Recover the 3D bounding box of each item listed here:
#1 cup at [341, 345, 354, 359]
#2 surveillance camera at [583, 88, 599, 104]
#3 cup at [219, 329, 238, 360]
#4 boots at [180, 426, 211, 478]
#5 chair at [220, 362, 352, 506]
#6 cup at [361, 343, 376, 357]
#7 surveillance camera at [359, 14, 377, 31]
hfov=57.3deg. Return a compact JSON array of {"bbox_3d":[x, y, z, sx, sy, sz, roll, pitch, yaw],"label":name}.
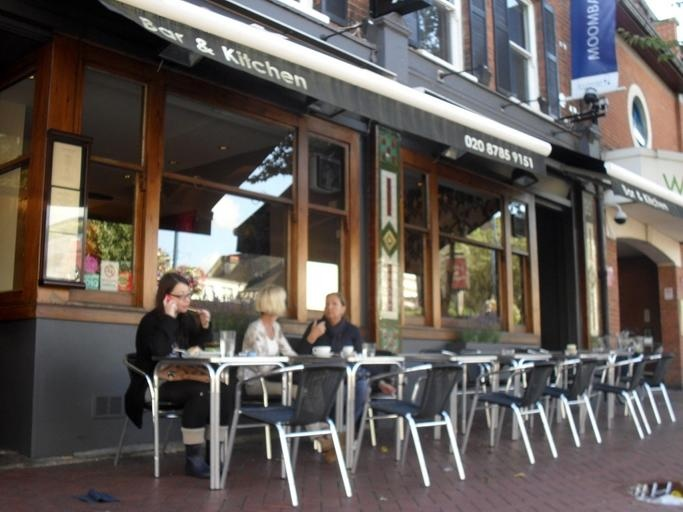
[{"bbox_3d":[0.048,0.920,5.985,0.116,0.094,0.079,-4,-4,20],"label":"cup"},{"bbox_3d":[4.863,-3.161,12.231,0.230,0.338,0.325,0,-36,17],"label":"surveillance camera"},{"bbox_3d":[-0.976,0.739,5.261,0.167,0.302,0.176,0,-2,0],"label":"cup"},{"bbox_3d":[-1.229,1.654,5.297,0.238,0.434,0.259,2,-6,-7],"label":"boots"},{"bbox_3d":[-0.440,1.395,5.317,1.066,1.022,1.444,2,-6,-9],"label":"chair"},{"bbox_3d":[0.258,0.908,6.171,0.146,0.179,0.148,1,1,0],"label":"cup"},{"bbox_3d":[0.363,-3.272,8.813,0.201,0.237,0.213,2,-6,-6],"label":"surveillance camera"}]
